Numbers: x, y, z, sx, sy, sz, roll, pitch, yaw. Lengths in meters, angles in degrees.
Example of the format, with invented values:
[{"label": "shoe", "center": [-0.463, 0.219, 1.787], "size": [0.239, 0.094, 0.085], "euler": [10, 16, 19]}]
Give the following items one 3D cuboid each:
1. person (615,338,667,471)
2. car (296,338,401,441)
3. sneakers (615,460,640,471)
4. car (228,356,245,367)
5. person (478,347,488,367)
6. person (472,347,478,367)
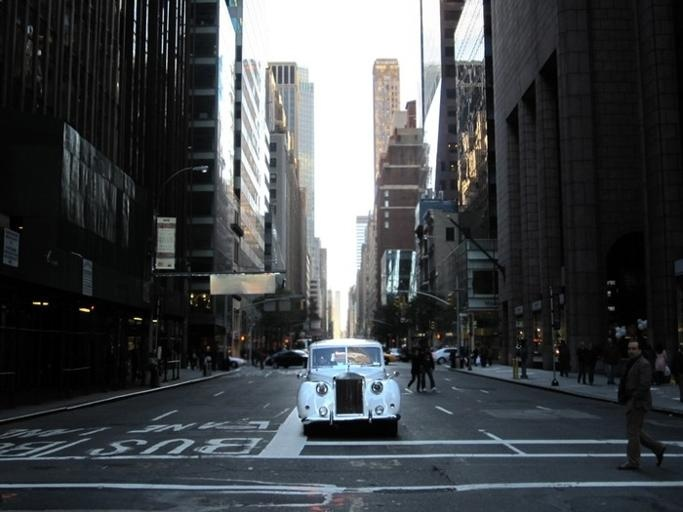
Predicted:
[{"label": "person", "center": [6.889, 3.488, 17.686], "size": [0.983, 2.978, 0.592], "euler": [-1, -7, 5]}, {"label": "car", "center": [0.193, 3.785, 21.684], "size": [2.784, 2.791, 2.111], "euler": [-1, -8, 0]}, {"label": "sneakers", "center": [6.588, 4.875, 17.438], "size": [0.490, 0.248, 0.203], "euler": [5, -11, 2]}, {"label": "car", "center": [-10.433, 10.578, 74.192], "size": [1.713, 0.711, 0.868], "euler": [-3, -5, 5]}, {"label": "person", "center": [12.599, 9.157, 67.253], "size": [0.712, 1.617, 3.462], "euler": [-2, -9, 10]}, {"label": "person", "center": [11.824, 9.073, 67.043], "size": [0.659, 1.580, 1.933], "euler": [-2, -8, 10]}]
